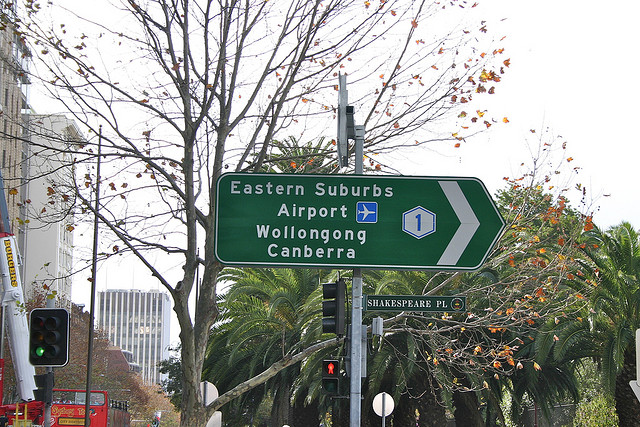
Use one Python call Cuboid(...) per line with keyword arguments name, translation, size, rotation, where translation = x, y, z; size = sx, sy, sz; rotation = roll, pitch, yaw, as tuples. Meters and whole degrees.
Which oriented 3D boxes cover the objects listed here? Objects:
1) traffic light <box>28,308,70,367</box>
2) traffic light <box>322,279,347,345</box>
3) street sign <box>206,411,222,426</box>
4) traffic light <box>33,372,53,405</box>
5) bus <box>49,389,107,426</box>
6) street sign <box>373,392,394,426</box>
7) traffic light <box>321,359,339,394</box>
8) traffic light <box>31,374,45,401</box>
Cuboid(name="traffic light", translation=(-9.547, 4.254, 37.348), size=(1.322, 2.198, 1.072), rotation=(2, -22, -11))
Cuboid(name="traffic light", translation=(0.405, 2.883, 32.539), size=(0.831, 1.660, 0.622), rotation=(-9, -22, 15))
Cuboid(name="street sign", translation=(-4.145, 7.986, 41.288), size=(0.542, 0.526, 0.877), rotation=(0, -24, -7))
Cuboid(name="traffic light", translation=(-9.838, 6.085, 37.627), size=(0.628, 0.403, 1.339), rotation=(-1, -66, -22))
Cuboid(name="bus", translation=(-11.858, 9.575, 51.868), size=(2.005, 2.302, 2.828), rotation=(-6, -23, 8))
Cuboid(name="street sign", translation=(2.626, 8.186, 44.082), size=(0.842, 1.793, 2.526), rotation=(-4, -23, 2))
Cuboid(name="traffic light", translation=(0.332, 5.220, 33.988), size=(0.550, 1.098, 0.387), rotation=(-2, -21, -3))
Cuboid(name="traffic light", translation=(-9.973, 6.115, 37.637), size=(0.342, 0.936, 0.910), rotation=(14, -28, -35))
